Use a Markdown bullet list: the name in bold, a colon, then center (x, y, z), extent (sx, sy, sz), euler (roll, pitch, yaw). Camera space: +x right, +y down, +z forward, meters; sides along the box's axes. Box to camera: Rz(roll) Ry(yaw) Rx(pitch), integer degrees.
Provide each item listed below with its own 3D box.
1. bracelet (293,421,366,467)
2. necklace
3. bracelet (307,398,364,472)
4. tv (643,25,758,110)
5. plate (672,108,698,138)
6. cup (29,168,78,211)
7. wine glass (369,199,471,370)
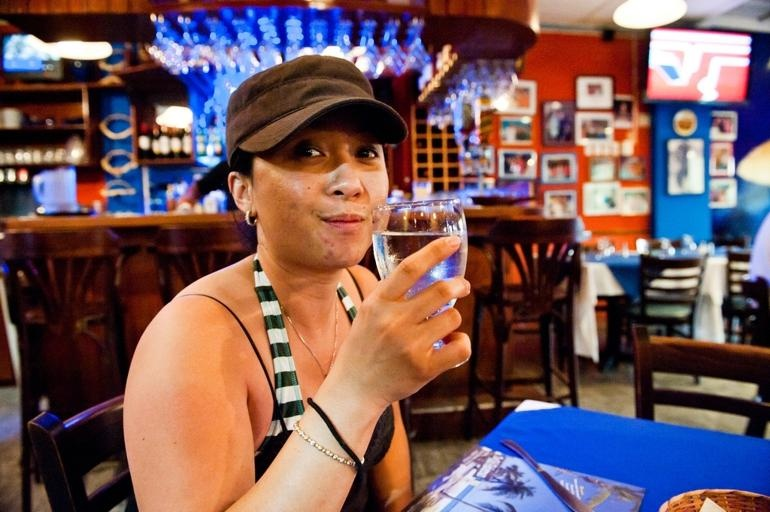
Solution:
- **bracelet**: center (-0.177, 0.569, 1.977), extent (0.157, 0.131, 0.027), euler (28, 55, 20)
- **necklace**: center (-0.276, 0.283, 2.352), extent (0.073, 0.277, 0.302), euler (-27, -17, 36)
- **bracelet**: center (-0.151, 0.558, 1.973), extent (0.048, 0.198, 0.166), euler (-41, -11, -6)
- **tv**: center (1.449, -0.865, 2.870), extent (0.372, 0.260, 0.053), euler (4, 8, 10)
- **plate**: center (1.434, -0.632, 3.017), extent (0.109, 0.133, 0.041), euler (1, 4, 27)
- **cup**: center (-2.598, -0.519, 4.871), extent (0.242, 0.371, 0.391), euler (1, 7, 22)
- **wine glass**: center (0.109, 0.057, 1.993), extent (0.302, 0.470, 0.184), euler (-1, 4, -3)
